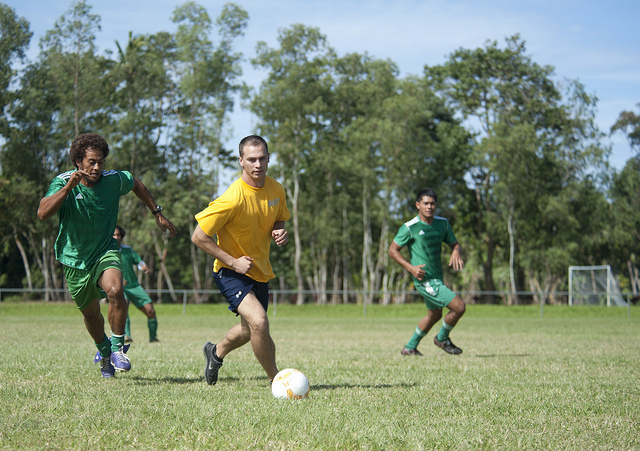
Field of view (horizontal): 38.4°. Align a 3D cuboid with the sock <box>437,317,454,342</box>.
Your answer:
[{"bbox_3d":[2.319,1.946,17.049,0.202,0.413,0.331,2,-5,-30],"label":"sock"}]

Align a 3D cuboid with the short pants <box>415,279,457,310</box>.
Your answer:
[{"bbox_3d":[2.132,1.259,16.846,0.471,0.624,0.810,-23,2,-32],"label":"short pants"}]

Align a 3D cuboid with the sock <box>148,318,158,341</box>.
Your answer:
[{"bbox_3d":[-3.609,2.235,19.702,0.162,0.481,0.229,0,-4,-5],"label":"sock"}]

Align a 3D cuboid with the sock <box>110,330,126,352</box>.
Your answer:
[{"bbox_3d":[-3.349,1.895,15.087,0.270,0.391,0.265,6,8,40],"label":"sock"}]

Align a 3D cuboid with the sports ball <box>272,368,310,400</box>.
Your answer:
[{"bbox_3d":[-0.436,2.418,13.923,0.434,0.455,0.440,-17,-16,-5],"label":"sports ball"}]

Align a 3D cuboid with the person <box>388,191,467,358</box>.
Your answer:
[{"bbox_3d":[2.006,0.897,16.899,1.237,3.009,1.067,-1,-4,8],"label":"person"}]

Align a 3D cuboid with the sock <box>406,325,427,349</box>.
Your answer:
[{"bbox_3d":[1.779,2.115,17.337,0.318,0.417,0.515,-1,-5,-1],"label":"sock"}]

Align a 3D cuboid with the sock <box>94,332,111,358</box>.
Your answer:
[{"bbox_3d":[-3.502,1.955,14.877,0.305,0.372,0.206,2,-5,-36],"label":"sock"}]

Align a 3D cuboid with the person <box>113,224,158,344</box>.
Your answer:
[{"bbox_3d":[-4.005,1.268,19.421,0.923,2.942,0.934,-4,-30,-22],"label":"person"}]
